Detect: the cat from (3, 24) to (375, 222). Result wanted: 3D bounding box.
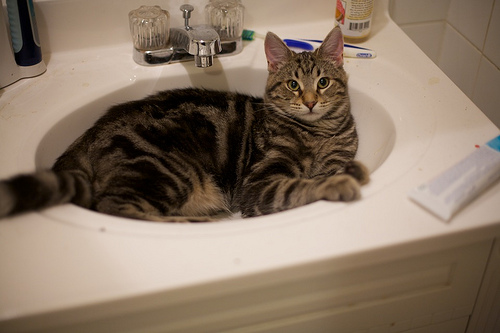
[{"bbox_3d":[-0.116,-0.098,1.202,0.943,0.393,0.521,-4,27,-1],"label":"cat"}]

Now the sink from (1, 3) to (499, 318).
[{"bbox_3d":[-0.089,0.058,1.215,1.161,0.493,0.793,-10,42,-12],"label":"sink"}]

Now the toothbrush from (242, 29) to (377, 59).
[{"bbox_3d":[0.199,-0.401,1.343,0.528,0.073,0.044,7,56,-1],"label":"toothbrush"}]
